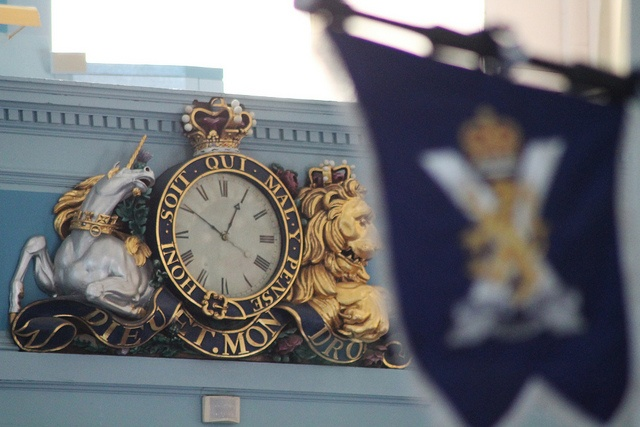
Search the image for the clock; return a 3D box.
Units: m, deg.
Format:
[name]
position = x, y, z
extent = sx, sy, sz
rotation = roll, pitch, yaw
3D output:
[clock]
position = -0.626, 0.194, 12.159
extent = 1.024, 1.003, 0.198
rotation = 10, -22, -22
